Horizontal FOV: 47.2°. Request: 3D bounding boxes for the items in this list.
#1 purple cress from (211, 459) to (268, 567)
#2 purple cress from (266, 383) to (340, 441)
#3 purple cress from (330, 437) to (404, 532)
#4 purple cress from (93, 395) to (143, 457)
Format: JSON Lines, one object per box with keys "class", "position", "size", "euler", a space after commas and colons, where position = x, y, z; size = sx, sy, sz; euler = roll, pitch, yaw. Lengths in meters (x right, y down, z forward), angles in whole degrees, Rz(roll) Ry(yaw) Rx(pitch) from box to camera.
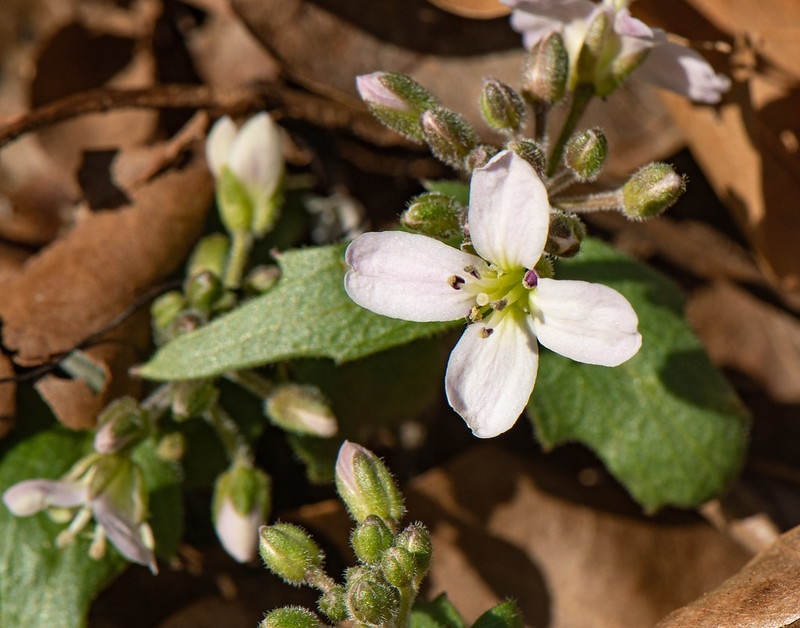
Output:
{"class": "purple cress", "position": [-0.614, 0.771, 3.605], "size": [0.202, 0.124, 0.394], "euler": [-15, 77, 33]}
{"class": "purple cress", "position": [-0.394, 0.410, 3.667], "size": [0.189, 0.085, 0.256], "euler": [-41, 79, -18]}
{"class": "purple cress", "position": [-0.117, 0.626, 3.445], "size": [0.179, 0.143, 0.375], "euler": [-27, 96, 17]}
{"class": "purple cress", "position": [-1.056, 0.420, 3.458], "size": [0.137, 0.056, 0.235], "euler": [23, 87, -3]}
